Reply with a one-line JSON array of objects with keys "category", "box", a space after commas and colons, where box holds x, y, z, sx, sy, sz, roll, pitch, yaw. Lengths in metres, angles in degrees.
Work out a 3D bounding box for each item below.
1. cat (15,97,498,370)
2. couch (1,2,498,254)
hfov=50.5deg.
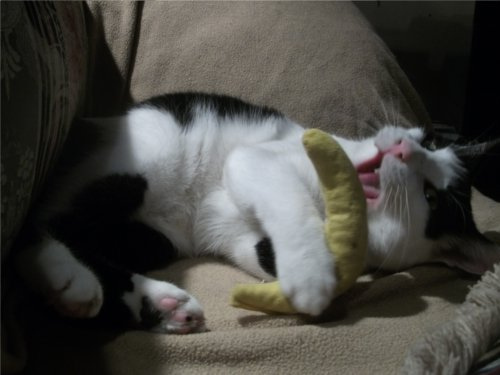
[{"category": "cat", "box": [0.012, 0.064, 0.943, 0.641, 0.216, 0.461, 3, 35, 14]}, {"category": "couch", "box": [-0.011, -0.145, 0.995, 0.662, 0.520, 0.194, 7, 41, -1]}]
